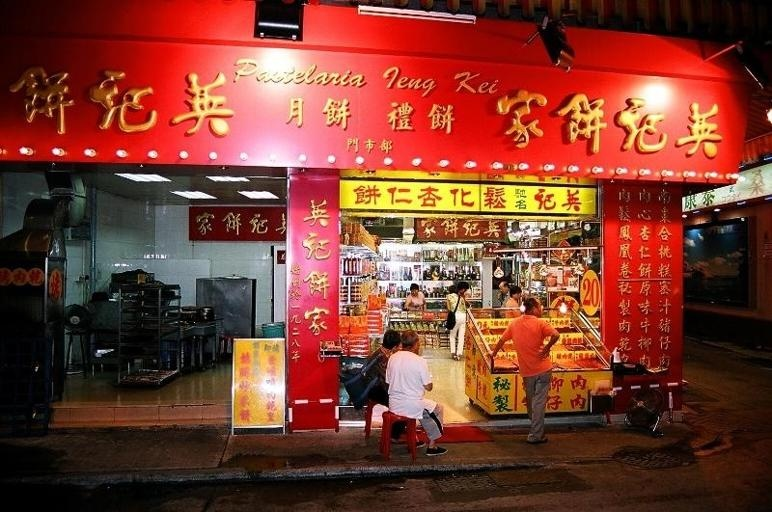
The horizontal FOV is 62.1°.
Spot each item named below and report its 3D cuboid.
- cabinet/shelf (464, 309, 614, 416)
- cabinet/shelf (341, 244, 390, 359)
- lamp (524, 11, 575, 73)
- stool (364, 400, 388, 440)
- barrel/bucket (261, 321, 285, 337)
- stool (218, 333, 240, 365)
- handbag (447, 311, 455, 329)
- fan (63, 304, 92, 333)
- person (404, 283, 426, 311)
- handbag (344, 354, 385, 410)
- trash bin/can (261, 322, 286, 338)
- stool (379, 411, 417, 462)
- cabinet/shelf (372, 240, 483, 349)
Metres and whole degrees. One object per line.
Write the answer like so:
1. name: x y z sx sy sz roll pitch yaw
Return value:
1. cabinet/shelf: 2.802 1.793 12.129 2.531 1.606 1.722 0 14 -2
2. cabinet/shelf: -0.420 0.597 13.272 0.982 1.883 3.832 0 14 -2
3. lamp: 2.855 -3.615 11.041 0.815 0.852 0.399 4 16 12
4. stool: -0.120 2.796 11.160 0.566 0.546 0.503 2 -7 14
5. barrel/bucket: -2.387 1.575 13.729 0.578 0.284 0.857 0 -7 -6
6. stool: -3.763 2.158 15.174 0.333 0.591 1.087 -2 15 -7
7. handbag: 1.568 1.551 15.361 0.217 0.463 0.186 2 15 7
8. fan: -6.552 1.342 13.675 0.706 0.625 0.172 0 -4 -12
9. person: 0.744 1.036 16.399 0.524 0.728 0.353 1 15 1
10. handbag: -0.377 2.080 10.723 0.707 0.884 0.248 -2 16 -8
11. trash bin/can: -2.399 1.576 13.687 0.580 0.286 0.862 1 1 -15
12. stool: 0.224 2.804 10.129 0.567 0.731 0.547 1 15 1
13. cabinet/shelf: 0.884 0.838 17.963 3.005 2.538 0.906 -1 2 -19
